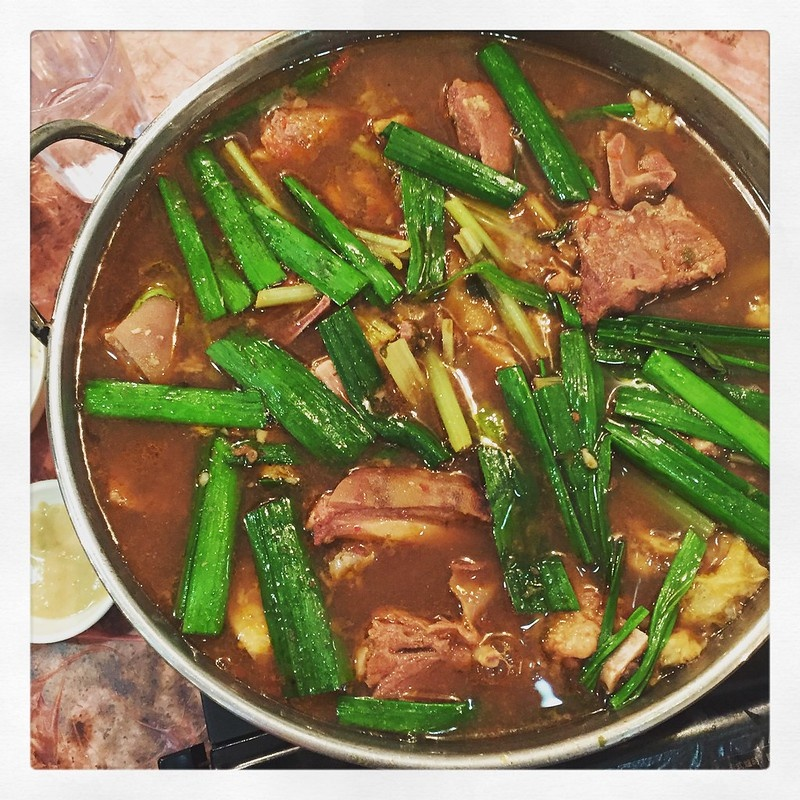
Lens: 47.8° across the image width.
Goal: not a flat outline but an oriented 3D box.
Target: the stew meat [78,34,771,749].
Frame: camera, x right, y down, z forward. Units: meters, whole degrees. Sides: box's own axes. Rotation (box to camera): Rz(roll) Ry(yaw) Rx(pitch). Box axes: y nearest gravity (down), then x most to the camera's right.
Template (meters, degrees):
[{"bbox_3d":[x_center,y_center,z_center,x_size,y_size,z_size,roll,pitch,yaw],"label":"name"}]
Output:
[{"bbox_3d":[0.126,-0.003,2.771,2.485,2.097,0.477,-5,4,-1],"label":"stew meat"}]
